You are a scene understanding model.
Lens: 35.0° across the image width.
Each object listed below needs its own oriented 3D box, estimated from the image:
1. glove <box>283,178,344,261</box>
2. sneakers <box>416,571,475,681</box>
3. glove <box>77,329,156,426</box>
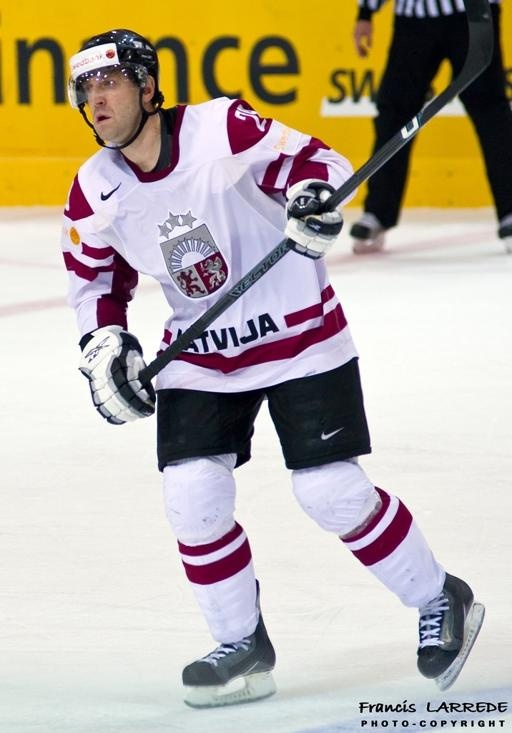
[{"bbox_3d":[0.057,-0.214,1.183,0.094,0.100,0.111,-2,42,-3],"label":"glove"},{"bbox_3d":[0.286,0.409,1.291,0.061,0.082,0.178,-24,23,44],"label":"sneakers"},{"bbox_3d":[-0.226,0.015,1.367,0.124,0.160,0.068,-30,-7,24],"label":"glove"}]
